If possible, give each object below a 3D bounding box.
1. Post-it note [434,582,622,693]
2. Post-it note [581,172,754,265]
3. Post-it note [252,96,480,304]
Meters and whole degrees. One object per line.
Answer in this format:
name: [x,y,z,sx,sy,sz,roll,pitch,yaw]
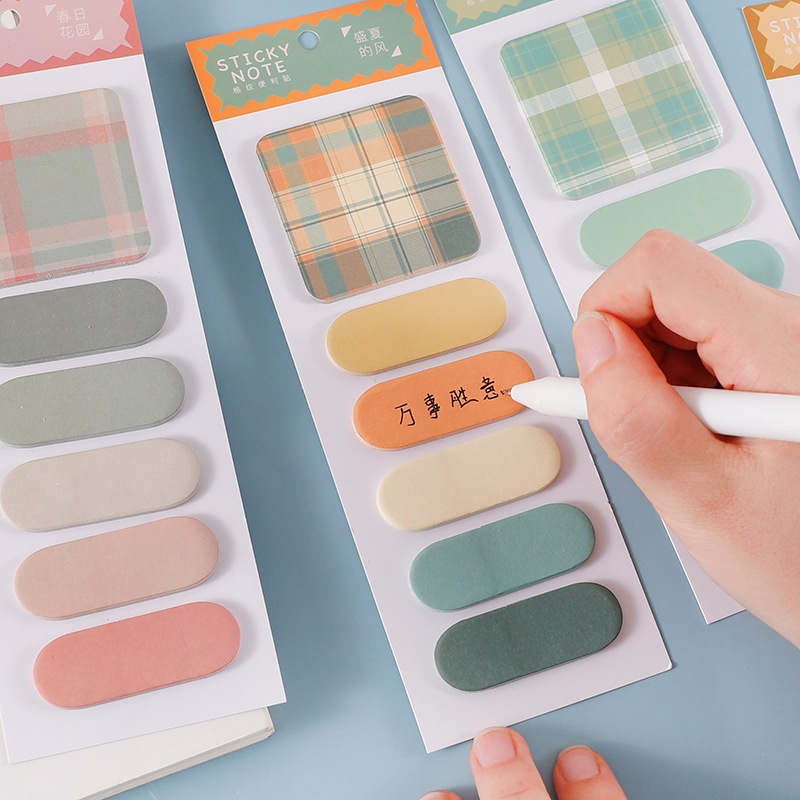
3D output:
Post-it note: [0.115,0.212,0.688,0.170,0.032,0.057,-19,62,-4]
Post-it note: [0.280,-0.189,0.809,0.209,0.017,0.079,-13,77,-6]
Post-it note: [-0.030,-0.203,0.772,0.184,0.072,0.176,-20,62,-4]
